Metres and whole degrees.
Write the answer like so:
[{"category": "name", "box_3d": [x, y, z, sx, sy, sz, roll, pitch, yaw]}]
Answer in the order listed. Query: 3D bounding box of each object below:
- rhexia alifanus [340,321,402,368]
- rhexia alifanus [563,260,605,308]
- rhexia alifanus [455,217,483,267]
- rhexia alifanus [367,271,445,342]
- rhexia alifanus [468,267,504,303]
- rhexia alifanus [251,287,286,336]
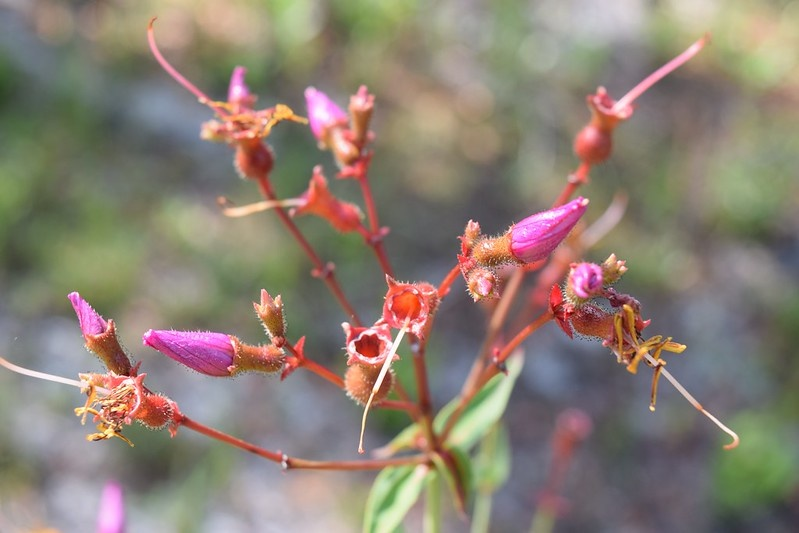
[{"category": "rhexia alifanus", "box_3d": [-0.266, 0.678, 8.419, 0.407, 0.272, 0.358, -1, 81, 4]}, {"category": "rhexia alifanus", "box_3d": [1.568, 0.164, 8.324, 0.308, 0.364, 0.368, 4, 82, 11]}, {"category": "rhexia alifanus", "box_3d": [0.611, -0.215, 8.598, 0.275, 0.183, 0.387, 25, 110, 34]}, {"category": "rhexia alifanus", "box_3d": [0.095, 0.367, 8.507, 0.433, 0.750, 0.579, -20, 81, -1]}, {"category": "rhexia alifanus", "box_3d": [0.741, 0.188, 8.666, 0.276, 0.621, 0.286, -7, 80, 3]}, {"category": "rhexia alifanus", "box_3d": [-1.138, 0.429, 8.577, 0.212, 0.223, 0.482, -10, 114, 7]}]
